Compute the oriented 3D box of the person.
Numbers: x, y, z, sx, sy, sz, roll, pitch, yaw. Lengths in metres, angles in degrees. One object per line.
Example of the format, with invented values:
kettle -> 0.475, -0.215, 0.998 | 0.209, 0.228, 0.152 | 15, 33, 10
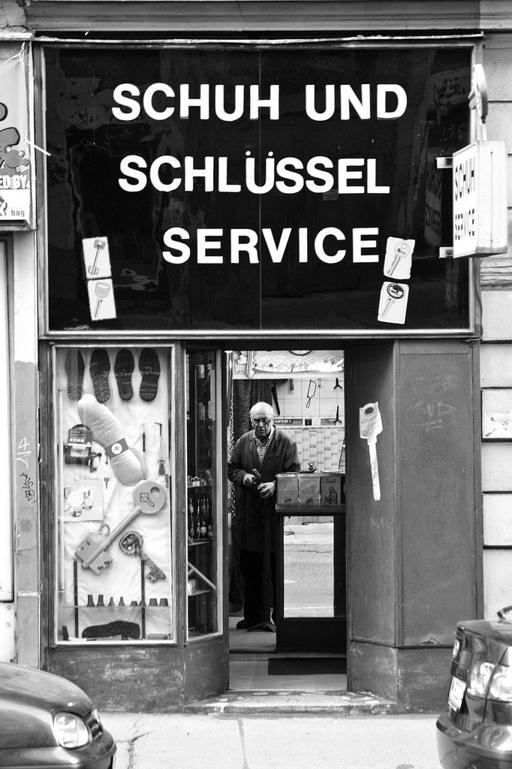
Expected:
person -> 0.005, 1.058, 12.391 | 0.545, 1.756, 0.476 | 4, 5, 18
